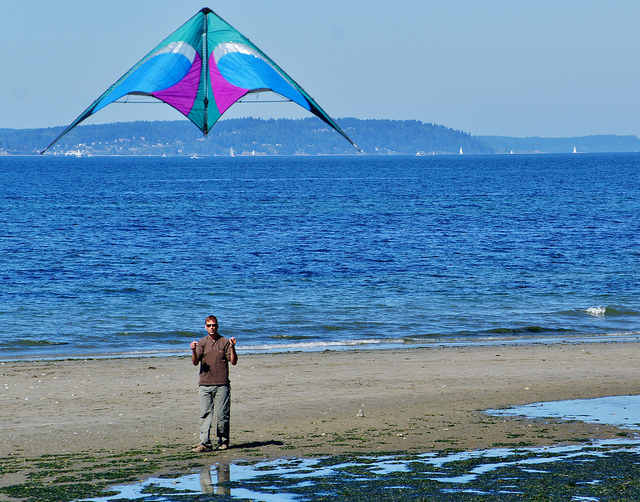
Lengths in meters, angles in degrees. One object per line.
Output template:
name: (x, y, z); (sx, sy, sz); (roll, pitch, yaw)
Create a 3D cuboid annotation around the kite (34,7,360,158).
kite: (-2.390, -3.695, 24.558); (4.332, 2.588, 1.246); (-1, -4, -2)

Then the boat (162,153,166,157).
boat: (-66.571, -41.048, 502.697); (2.003, 1.357, 1.817); (-3, 2, -7)
